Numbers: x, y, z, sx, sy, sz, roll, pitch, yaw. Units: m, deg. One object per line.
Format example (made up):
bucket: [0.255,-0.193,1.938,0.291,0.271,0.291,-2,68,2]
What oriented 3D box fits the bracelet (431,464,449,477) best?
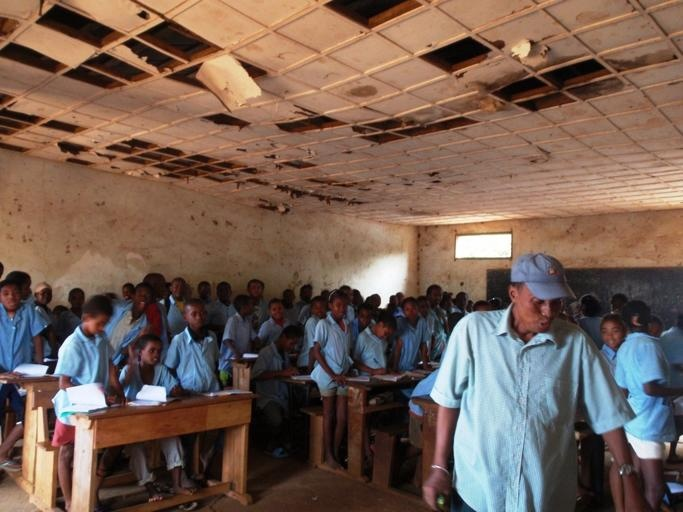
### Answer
bracelet: [0.462,0.997,2.517,0.063,0.014,0.052,19,0,14]

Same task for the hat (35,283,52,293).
hat: [-3.548,0.377,6.421,0.142,0.132,0.160,13,-7,-24]

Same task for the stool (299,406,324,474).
stool: [-0.289,1.786,5.402,0.239,0.535,0.335,3,2,-4]

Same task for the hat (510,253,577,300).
hat: [0.946,0.068,2.547,0.271,0.150,0.328,-3,18,-12]

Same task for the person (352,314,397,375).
person: [0.355,0.925,5.734,0.411,0.642,0.433,3,2,-4]

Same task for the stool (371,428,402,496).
stool: [0.396,1.831,4.947,0.251,0.485,0.258,3,2,11]

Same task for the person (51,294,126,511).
person: [-1.972,1.153,4.207,0.476,1.713,0.506,2,3,-26]

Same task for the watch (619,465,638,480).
watch: [1.341,1.007,2.527,0.069,0.040,0.076,-11,-13,12]

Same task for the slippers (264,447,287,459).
slippers: [-0.658,2.035,5.579,0.267,0.062,0.083,3,12,9]

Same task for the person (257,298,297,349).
person: [-0.821,0.856,6.759,0.839,0.582,0.247,-1,-2,-44]
